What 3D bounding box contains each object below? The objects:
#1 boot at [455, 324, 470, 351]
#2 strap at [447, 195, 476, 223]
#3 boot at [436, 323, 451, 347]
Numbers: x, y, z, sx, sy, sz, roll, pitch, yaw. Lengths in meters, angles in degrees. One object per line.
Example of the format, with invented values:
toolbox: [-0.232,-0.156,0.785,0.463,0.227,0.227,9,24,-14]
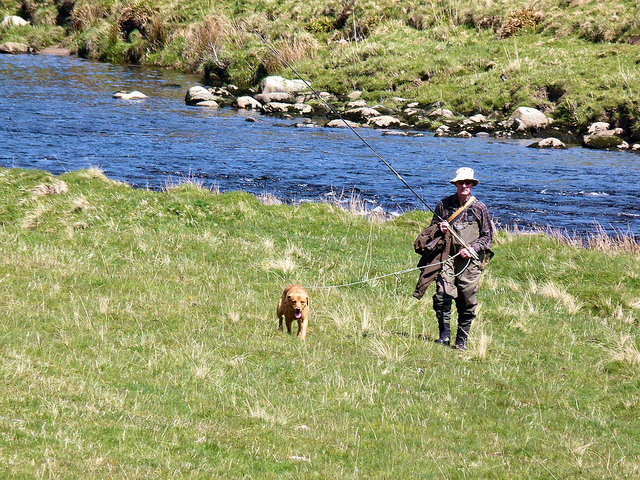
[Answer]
boot: [5.019,3.476,43.647,0.446,0.857,0.489,4,12,8]
strap: [5.015,-1.089,43.650,0.179,1.237,0.143,46,-6,-12]
boot: [4.371,3.374,43.791,0.472,0.794,0.492,3,12,1]
